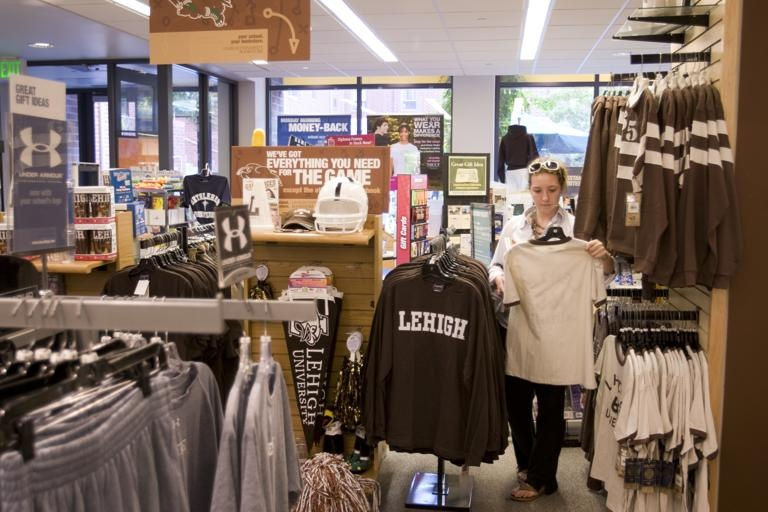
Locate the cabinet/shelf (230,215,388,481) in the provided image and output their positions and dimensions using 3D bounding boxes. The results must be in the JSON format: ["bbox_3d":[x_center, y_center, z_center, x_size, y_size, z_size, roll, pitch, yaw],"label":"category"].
[{"bbox_3d":[-0.501,0.618,4.004,0.959,1.808,0.550,0,4,3],"label":"cabinet/shelf"}]

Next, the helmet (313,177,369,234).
[{"bbox_3d":[-0.293,-0.364,3.833,0.349,0.369,0.471,3,8,13],"label":"helmet"}]

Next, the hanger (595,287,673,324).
[{"bbox_3d":[1.836,0.364,4.065,0.422,0.143,0.301,-1,5,-1],"label":"hanger"}]

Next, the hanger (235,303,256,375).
[{"bbox_3d":[-0.540,0.339,2.201,0.044,0.188,0.044,8,-11,-19],"label":"hanger"}]

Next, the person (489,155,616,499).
[{"bbox_3d":[1.163,0.504,4.015,0.849,2.412,0.645,1,4,22],"label":"person"}]

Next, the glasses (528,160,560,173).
[{"bbox_3d":[1.109,-0.619,3.921,0.207,0.088,0.093,1,5,14],"label":"glasses"}]

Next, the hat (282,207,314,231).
[{"bbox_3d":[-0.590,-0.253,3.882,0.218,0.140,0.211,-1,5,-11],"label":"hat"}]

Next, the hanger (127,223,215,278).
[{"bbox_3d":[-1.531,-0.138,4.153,0.456,0.276,0.628,3,7,18],"label":"hanger"}]

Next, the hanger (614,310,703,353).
[{"bbox_3d":[1.872,0.492,3.890,0.546,0.246,0.305,1,5,14],"label":"hanger"}]

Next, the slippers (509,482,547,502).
[{"bbox_3d":[1.006,1.657,4.048,0.214,0.067,0.117,4,-5,-23],"label":"slippers"}]
